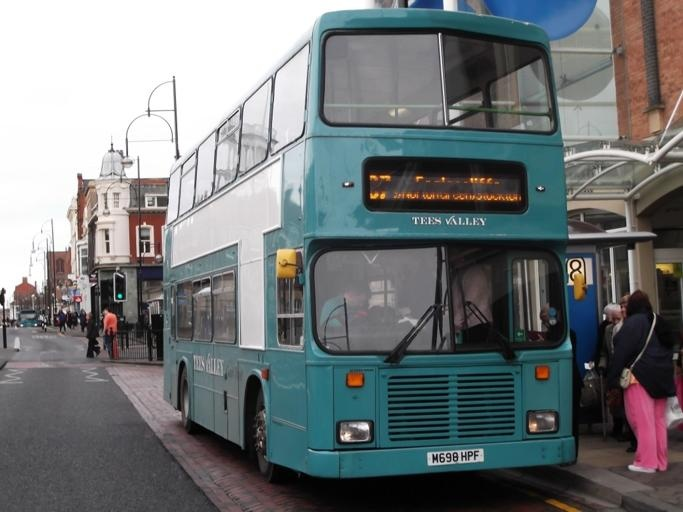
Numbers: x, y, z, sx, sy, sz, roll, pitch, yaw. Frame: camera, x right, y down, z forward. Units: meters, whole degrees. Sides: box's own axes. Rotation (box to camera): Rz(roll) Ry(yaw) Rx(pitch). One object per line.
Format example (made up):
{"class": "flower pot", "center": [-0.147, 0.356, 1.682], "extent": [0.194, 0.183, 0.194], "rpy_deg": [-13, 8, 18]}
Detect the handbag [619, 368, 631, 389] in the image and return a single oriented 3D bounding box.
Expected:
{"class": "handbag", "center": [3.379, 1.456, 8.439], "extent": [0.086, 0.185, 0.142], "rpy_deg": [9, -40, 18]}

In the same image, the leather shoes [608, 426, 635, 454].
{"class": "leather shoes", "center": [3.950, 2.549, 9.822], "extent": [0.176, 0.296, 0.626], "rpy_deg": [1, -6, -16]}

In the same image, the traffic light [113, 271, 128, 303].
{"class": "traffic light", "center": [-10.312, 1.388, 32.684], "extent": [0.419, 1.278, 1.773], "rpy_deg": [0, -6, -20]}
